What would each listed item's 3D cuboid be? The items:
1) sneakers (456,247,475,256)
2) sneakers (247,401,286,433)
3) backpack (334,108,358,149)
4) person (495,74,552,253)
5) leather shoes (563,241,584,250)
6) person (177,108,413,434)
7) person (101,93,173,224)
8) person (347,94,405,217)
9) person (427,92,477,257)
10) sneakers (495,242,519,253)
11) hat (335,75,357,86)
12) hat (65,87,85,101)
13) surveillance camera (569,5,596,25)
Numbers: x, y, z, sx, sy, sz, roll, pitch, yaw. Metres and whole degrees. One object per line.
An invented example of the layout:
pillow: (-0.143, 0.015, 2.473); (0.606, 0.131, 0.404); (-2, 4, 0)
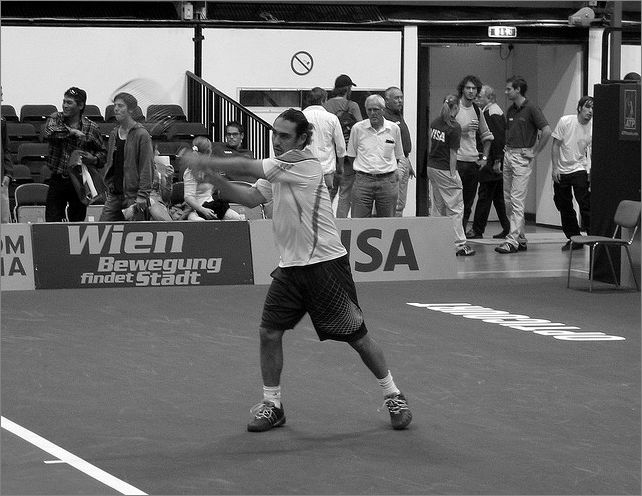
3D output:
sneakers: (2.206, 0.071, 11.796); (0.334, 0.173, 0.137); (-6, 11, -31)
sneakers: (-0.338, 1.032, 4.704); (0.115, 0.185, 0.329); (-5, -3, 36)
backpack: (0.340, -1.745, 11.166); (0.275, 0.471, 0.452); (0, -26, 0)
person: (3.176, -1.311, 12.183); (0.709, 2.742, 1.026); (2, 6, 14)
leather shoes: (3.782, -0.025, 11.455); (0.114, 0.175, 0.345); (-3, -2, 41)
person: (-0.128, 0.275, 4.560); (1.331, 1.686, 0.460); (-2, 6, -21)
person: (-2.292, -1.060, 9.226); (0.761, 1.546, 0.920); (0, 6, -3)
person: (0.701, -0.965, 10.286); (0.673, 2.326, 0.555); (-3, 27, -2)
person: (1.952, -1.114, 11.711); (0.684, 2.444, 1.299); (1, 6, 9)
sneakers: (2.951, 0.012, 12.143); (0.362, 0.176, 0.150); (2, -4, -30)
hat: (0.358, -2.432, 11.155); (0.195, 0.183, 0.276); (10, 18, 39)
hat: (-2.967, -1.859, 9.182); (0.166, 0.180, 0.216); (12, 20, -17)
surveillance camera: (4.236, -3.721, 12.389); (0.332, 0.327, 0.395); (1, 6, 7)
